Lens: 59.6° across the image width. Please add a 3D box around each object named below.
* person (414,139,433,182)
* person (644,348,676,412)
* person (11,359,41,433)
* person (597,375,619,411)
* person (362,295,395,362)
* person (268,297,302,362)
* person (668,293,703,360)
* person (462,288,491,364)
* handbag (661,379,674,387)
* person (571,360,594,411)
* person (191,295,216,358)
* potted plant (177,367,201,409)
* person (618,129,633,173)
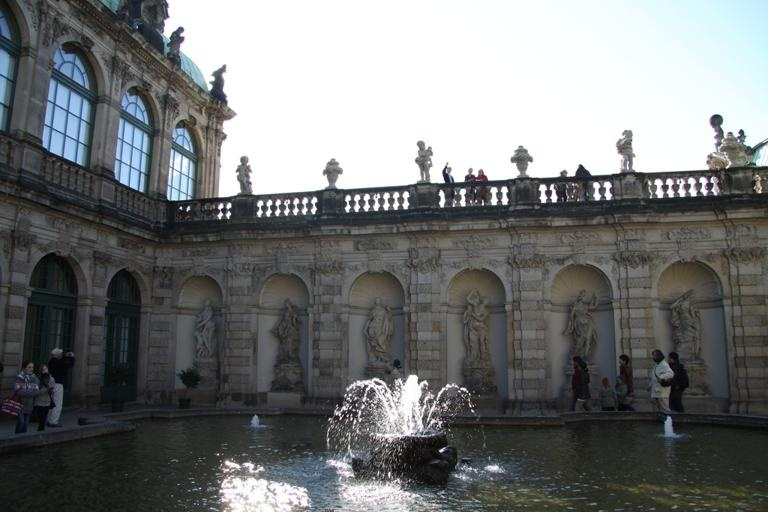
[{"bbox_3d":[1.464,-3.412,24.561,0.498,1.514,0.458,0,-13,2],"label":"person"},{"bbox_3d":[8.487,3.788,20.393,0.664,1.909,1.084,-3,-14,16],"label":"person"},{"bbox_3d":[-9.395,3.688,17.543,0.550,1.807,0.809,8,-15,-28],"label":"person"},{"bbox_3d":[7.088,4.362,21.141,0.479,0.997,0.971,-4,-14,19],"label":"person"},{"bbox_3d":[-0.174,2.805,24.723,1.088,2.392,0.567,1,-13,-2],"label":"person"},{"bbox_3d":[-3.648,2.909,25.374,1.016,2.409,0.616,2,-13,-5],"label":"person"},{"bbox_3d":[10.360,2.388,22.955,0.970,2.356,0.501,-4,-14,18],"label":"person"},{"bbox_3d":[3.327,2.611,24.061,0.943,2.772,0.468,-1,-13,7],"label":"person"},{"bbox_3d":[8.598,3.841,20.318,0.396,0.266,0.246,6,-14,-22],"label":"handbag"},{"bbox_3d":[6.394,4.134,21.783,0.513,1.681,0.829,-3,-13,15],"label":"person"},{"bbox_3d":[-6.924,2.866,25.949,0.777,2.310,0.487,3,-13,-8],"label":"person"},{"bbox_3d":[-7.201,4.847,24.683,0.832,1.434,2.310,4,-14,-17],"label":"potted plant"},{"bbox_3d":[8.515,-3.639,23.626,0.503,1.507,0.443,-2,-13,13],"label":"person"}]
